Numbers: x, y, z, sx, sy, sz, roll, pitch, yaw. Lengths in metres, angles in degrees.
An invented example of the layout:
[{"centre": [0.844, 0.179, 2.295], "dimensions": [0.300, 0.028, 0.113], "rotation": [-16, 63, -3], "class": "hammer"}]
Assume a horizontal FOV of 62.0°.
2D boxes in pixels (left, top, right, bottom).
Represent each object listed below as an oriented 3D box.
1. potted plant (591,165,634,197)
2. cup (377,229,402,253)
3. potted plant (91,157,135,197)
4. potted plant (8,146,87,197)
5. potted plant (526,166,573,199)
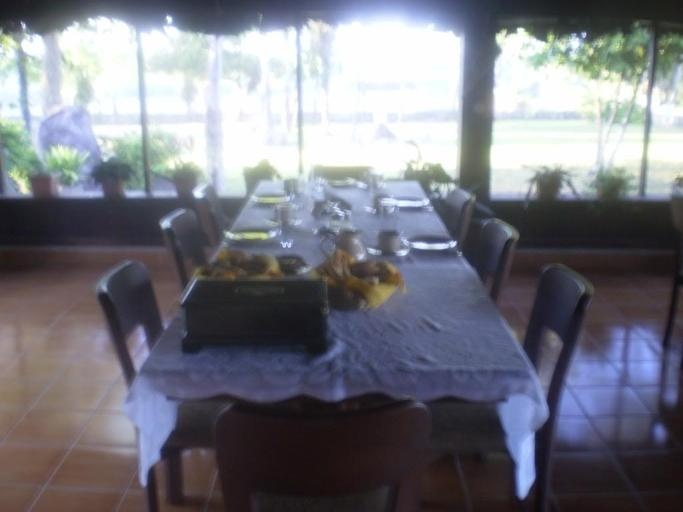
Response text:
[{"centre": [2.407, -0.655, 5.046], "dimensions": [0.370, 0.255, 0.171], "rotation": [-3, 16, -14], "class": "potted plant"}, {"centre": [0.225, -0.067, 2.640], "dimensions": [0.098, 0.102, 0.103], "rotation": [-1, 29, 0], "class": "cup"}, {"centre": [-2.073, -0.715, 5.160], "dimensions": [0.352, 0.395, 0.342], "rotation": [-3, 4, -6], "class": "potted plant"}, {"centre": [-2.745, -0.719, 5.223], "dimensions": [0.323, 0.328, 0.418], "rotation": [-1, 4, -16], "class": "potted plant"}, {"centre": [1.832, -0.647, 4.956], "dimensions": [0.286, 0.225, 0.298], "rotation": [3, 30, 12], "class": "potted plant"}]
